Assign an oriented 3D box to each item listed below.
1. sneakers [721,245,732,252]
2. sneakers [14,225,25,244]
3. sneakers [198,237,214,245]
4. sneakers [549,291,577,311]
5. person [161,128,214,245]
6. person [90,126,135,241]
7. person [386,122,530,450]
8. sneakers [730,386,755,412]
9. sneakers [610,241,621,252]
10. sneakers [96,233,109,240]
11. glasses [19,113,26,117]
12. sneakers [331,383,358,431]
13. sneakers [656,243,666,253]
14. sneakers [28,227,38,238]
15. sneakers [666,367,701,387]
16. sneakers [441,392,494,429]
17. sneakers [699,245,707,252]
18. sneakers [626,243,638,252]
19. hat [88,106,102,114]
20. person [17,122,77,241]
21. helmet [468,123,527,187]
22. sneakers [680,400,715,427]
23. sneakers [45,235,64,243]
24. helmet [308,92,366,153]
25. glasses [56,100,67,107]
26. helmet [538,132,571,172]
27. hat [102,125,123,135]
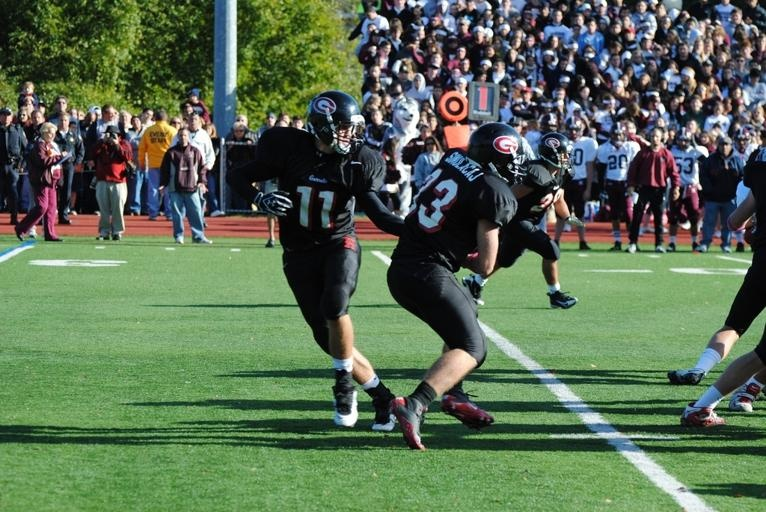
[{"bbox_3d":[6.001,-0.108,19.661,0.102,0.059,0.152,2,-7,-7],"label":"sneakers"},{"bbox_3d":[-5.962,-0.348,18.458,0.141,0.288,0.102,-18,12,6],"label":"sneakers"},{"bbox_3d":[-3.052,-0.261,19.289,0.309,0.122,0.091,0,38,-1],"label":"sneakers"},{"bbox_3d":[2.056,0.511,12.957,0.390,0.181,0.151,-1,11,5],"label":"sneakers"},{"bbox_3d":[-3.305,-1.121,18.664,0.603,2.024,0.886,3,13,8],"label":"person"},{"bbox_3d":[-4.492,-1.170,18.816,0.639,1.984,0.737,-2,14,-14],"label":"person"},{"bbox_3d":[0.550,0.215,8.702,0.991,2.418,1.207,3,13,6],"label":"person"},{"bbox_3d":[3.002,1.198,9.356,0.355,0.141,0.113,-11,12,-32],"label":"sneakers"},{"bbox_3d":[4.129,-0.181,19.866,0.193,0.187,0.478,4,12,12],"label":"sneakers"},{"bbox_3d":[-4.801,-0.302,19.225,0.228,0.085,0.081,-1,2,33],"label":"sneakers"},{"bbox_3d":[-6.710,-2.623,20.987,0.065,0.041,0.082,0,-6,8],"label":"glasses"},{"bbox_3d":[-0.303,1.200,8.923,0.154,0.358,0.167,-3,-8,6],"label":"sneakers"},{"bbox_3d":[4.890,-0.130,19.737,0.111,0.097,0.244,5,10,21],"label":"sneakers"},{"bbox_3d":[-5.970,-0.388,19.140,0.112,0.247,0.146,29,-43,-34],"label":"sneakers"},{"bbox_3d":[2.658,1.074,9.903,0.281,0.100,0.139,1,0,24],"label":"sneakers"},{"bbox_3d":[0.652,1.235,8.829,0.389,0.128,0.201,25,41,5],"label":"sneakers"},{"bbox_3d":[5.626,-0.128,19.734,0.077,0.194,0.084,9,47,26],"label":"sneakers"},{"bbox_3d":[4.334,-0.137,19.542,0.160,0.176,0.454,0,-5,12],"label":"sneakers"},{"bbox_3d":[-5.670,-2.880,22.086,0.209,0.134,0.269,6,-10,-37],"label":"hat"},{"bbox_3d":[-5.542,-1.144,18.302,0.828,2.026,0.777,-2,14,-15],"label":"person"},{"bbox_3d":[0.935,-0.820,9.036,0.592,0.498,0.439,-6,16,-23],"label":"helmet"},{"bbox_3d":[2.500,1.283,8.990,0.363,0.139,0.127,-1,18,-12],"label":"sneakers"},{"bbox_3d":[-5.525,-0.281,18.977,0.321,0.107,0.097,1,11,-9],"label":"sneakers"},{"bbox_3d":[-0.341,-1.035,9.043,0.553,0.467,0.418,8,-2,30],"label":"helmet"},{"bbox_3d":[-6.072,-2.835,21.226,0.153,0.153,0.180,5,-28,-19],"label":"glasses"},{"bbox_3d":[2.039,-1.254,13.393,0.453,0.355,0.367,11,5,24],"label":"helmet"},{"bbox_3d":[-4.478,-2.087,18.662,0.315,0.118,0.392,2,4,-13],"label":"hat"}]
